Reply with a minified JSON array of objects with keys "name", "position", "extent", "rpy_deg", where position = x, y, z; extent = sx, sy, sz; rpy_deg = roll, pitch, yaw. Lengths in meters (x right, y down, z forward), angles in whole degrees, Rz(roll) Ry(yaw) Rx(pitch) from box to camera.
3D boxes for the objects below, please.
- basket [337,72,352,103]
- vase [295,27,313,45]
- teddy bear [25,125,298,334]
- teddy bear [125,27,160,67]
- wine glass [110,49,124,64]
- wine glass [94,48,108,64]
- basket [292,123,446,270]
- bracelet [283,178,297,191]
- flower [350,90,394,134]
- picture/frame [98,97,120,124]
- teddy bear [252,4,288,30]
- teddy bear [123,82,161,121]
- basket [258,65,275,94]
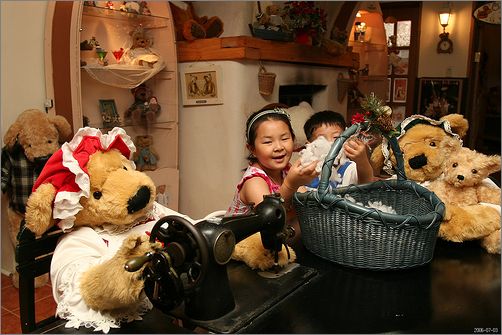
[{"name":"basket","position":[1.076,-0.875,4.119],"extent":[0.143,0.277,0.285],"rpy_deg":[2,9,26]},{"name":"vase","position":[0.511,-1.266,3.493],"extent":[0.147,0.158,0.142],"rpy_deg":[-3,19,-3]},{"name":"teddy bear","position":[-0.354,0.183,1.302],"extent":[0.924,0.505,0.710],"rpy_deg":[3,10,23]},{"name":"teddy bear","position":[-0.884,-0.971,2.987],"extent":[0.268,0.299,0.173],"rpy_deg":[9,15,-13]},{"name":"wine glass","position":[-1.066,-0.898,2.925],"extent":[0.100,0.122,0.098],"rpy_deg":[-5,5,-29]},{"name":"wine glass","position":[-1.150,-0.854,2.804],"extent":[0.082,0.122,0.156],"rpy_deg":[-5,8,-19]},{"name":"basket","position":[0.451,0.095,1.514],"extent":[0.472,0.522,0.601],"rpy_deg":[-9,6,-44]},{"name":"bracelet","position":[0.163,0.075,1.505],"extent":[0.048,0.047,0.036],"rpy_deg":[1,-1,-4]},{"name":"flower","position":[0.495,-0.220,1.500],"extent":[0.158,0.157,0.088],"rpy_deg":[10,13,11]},{"name":"picture/frame","position":[-1.156,-0.460,2.935],"extent":[0.027,0.262,0.197],"rpy_deg":[-17,0,36]},{"name":"teddy bear","position":[0.175,-1.283,3.123],"extent":[0.312,0.179,0.209],"rpy_deg":[9,24,28]},{"name":"teddy bear","position":[-0.935,-0.552,3.093],"extent":[0.317,0.310,0.188],"rpy_deg":[-6,16,-15]},{"name":"basket","position":[0.144,-0.770,3.175],"extent":[0.148,0.267,0.251],"rpy_deg":[-2,8,3]}]
